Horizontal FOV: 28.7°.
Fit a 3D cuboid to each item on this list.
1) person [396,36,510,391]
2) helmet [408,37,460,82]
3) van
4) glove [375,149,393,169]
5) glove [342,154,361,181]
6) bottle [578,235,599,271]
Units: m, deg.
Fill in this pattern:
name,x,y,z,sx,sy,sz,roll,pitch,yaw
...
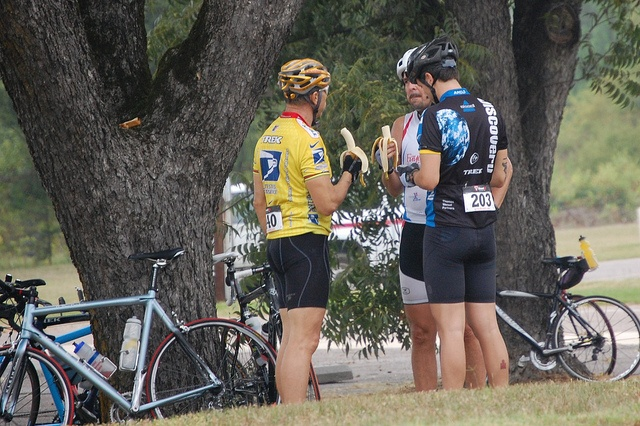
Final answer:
name,x,y,z,sx,sy,sz,roll,pitch,yaw
person,1.804,0.013,16.001,1.131,4.571,0.500,-3,2,5
helmet,1.455,-2.005,16.153,0.610,0.360,0.456,-33,-18,24
van,-0.014,0.365,19.331,2.178,1.440,1.430,2,-1,-4
glove,0.863,-0.711,16.687,0.180,0.265,0.223,7,5,-7
glove,0.413,-0.583,16.184,0.191,0.359,0.228,7,-7,1
bottle,3.837,0.617,17.883,0.233,0.502,0.332,-4,2,-2
